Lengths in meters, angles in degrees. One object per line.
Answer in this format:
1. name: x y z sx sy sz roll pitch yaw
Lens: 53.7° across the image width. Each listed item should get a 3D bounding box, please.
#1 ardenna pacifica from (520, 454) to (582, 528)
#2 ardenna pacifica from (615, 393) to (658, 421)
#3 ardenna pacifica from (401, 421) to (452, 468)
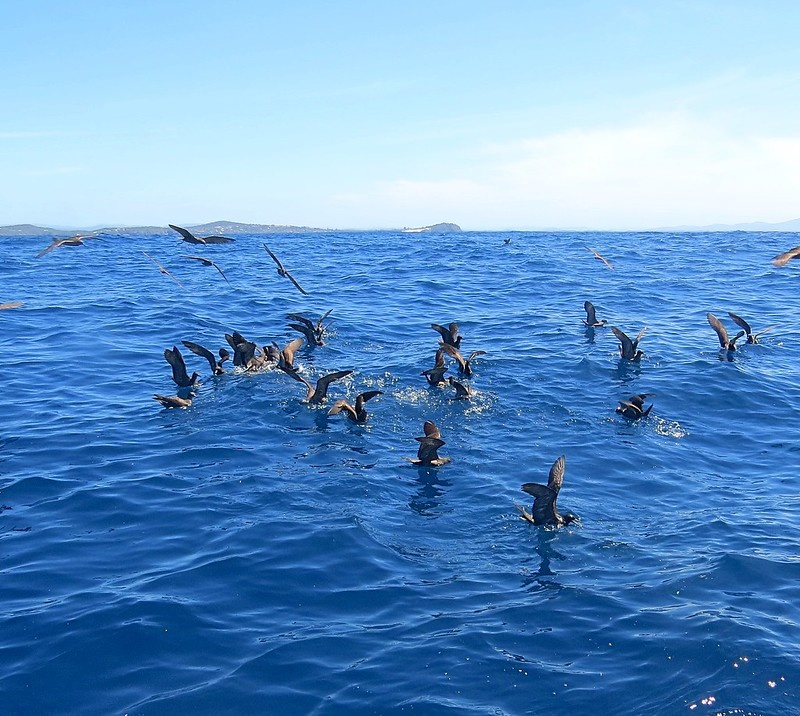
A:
1. ardenna pacifica: 2.361 2.181 12.685 0.750 1.308 1.215 5 14 27
2. ardenna pacifica: 5.143 1.110 17.338 0.765 0.287 0.778 -20 10 40
3. ardenna pacifica: 0.329 1.673 14.547 1.179 0.495 1.412 -1 10 6
